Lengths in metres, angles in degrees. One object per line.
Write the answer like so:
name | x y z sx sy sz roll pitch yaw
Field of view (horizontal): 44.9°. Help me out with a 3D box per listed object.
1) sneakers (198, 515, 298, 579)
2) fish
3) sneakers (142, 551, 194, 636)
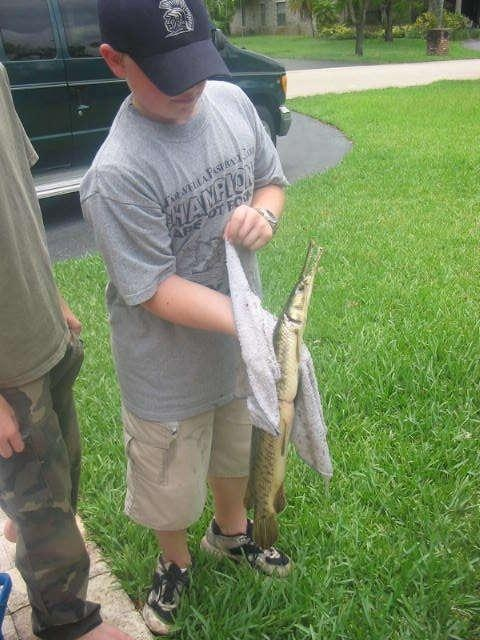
sneakers | 0.012 0.787 2.111 0.362 0.194 0.141 20 8 14
fish | 0.096 0.247 1.525 0.191 0.871 0.186 -5 17 -38
sneakers | -0.232 0.869 1.848 0.097 0.115 0.283 19 29 -14
